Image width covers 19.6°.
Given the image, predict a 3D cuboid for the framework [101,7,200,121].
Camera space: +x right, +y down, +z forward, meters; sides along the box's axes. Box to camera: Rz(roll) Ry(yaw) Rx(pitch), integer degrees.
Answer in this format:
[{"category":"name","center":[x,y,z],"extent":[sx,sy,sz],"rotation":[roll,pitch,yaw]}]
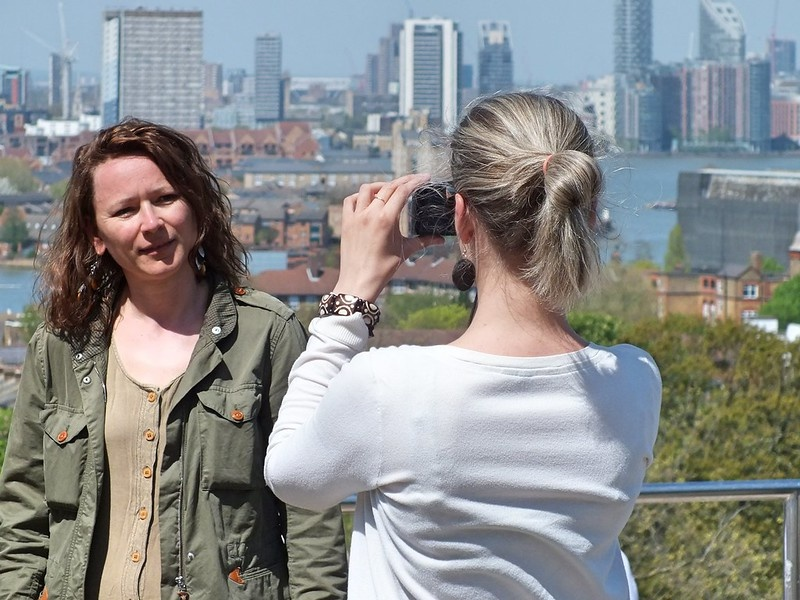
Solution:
[{"category":"framework","center":[-16.134,-15.126,151.091],"extent":[6.423,7.821,3.453],"rotation":[2,6,-5]}]

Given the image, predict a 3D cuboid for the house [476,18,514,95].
[{"category":"house","center":[6.723,-17.419,164.572],"extent":[2.401,4.696,4.671],"rotation":[2,6,3]}]

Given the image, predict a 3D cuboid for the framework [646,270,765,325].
[{"category":"framework","center":[15.401,-0.380,114.468],"extent":[1.775,3.038,13.132],"rotation":[1,6,-12]}]
